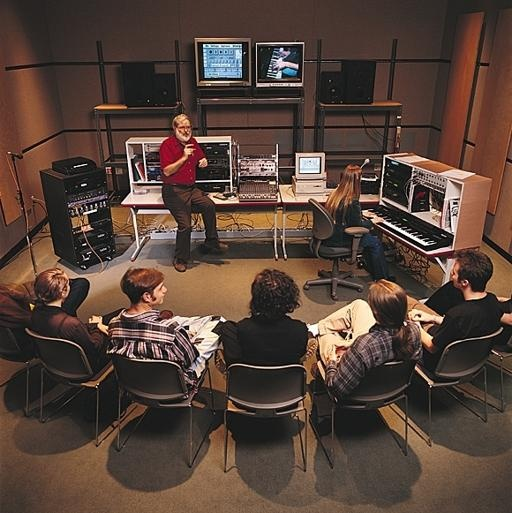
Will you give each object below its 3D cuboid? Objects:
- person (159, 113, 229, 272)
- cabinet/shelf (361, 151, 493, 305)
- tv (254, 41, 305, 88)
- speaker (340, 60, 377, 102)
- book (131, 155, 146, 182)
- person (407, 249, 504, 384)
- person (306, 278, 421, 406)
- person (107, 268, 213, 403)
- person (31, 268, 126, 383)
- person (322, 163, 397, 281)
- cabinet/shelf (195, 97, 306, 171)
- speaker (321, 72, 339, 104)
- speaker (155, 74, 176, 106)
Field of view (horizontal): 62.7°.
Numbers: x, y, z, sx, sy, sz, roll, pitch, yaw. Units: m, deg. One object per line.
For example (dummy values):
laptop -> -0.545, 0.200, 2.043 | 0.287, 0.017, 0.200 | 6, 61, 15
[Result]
person -> -0.751, -0.751, 4.894 | 0.671, 1.702, 0.744 | -9, 26, -15
cabinet/shelf -> 1.592, -0.263, 4.046 | 0.796, 1.260, 1.387 | -4, 31, -11
tv -> 0.315, -2.674, 5.856 | 0.768, 0.554, 0.248 | 0, 27, 0
speaker -> 1.435, -2.518, 6.028 | 0.635, 0.700, 0.424 | 0, 26, 2
book -> -1.446, -1.086, 5.211 | 0.112, 0.294, 0.192 | -24, 32, -38
person -> 1.202, 0.361, 2.514 | 0.526, 0.712, 0.359 | -22, 31, -37
person -> 0.615, 0.426, 2.421 | 0.508, 0.785, 0.645 | -3, 24, -2
person -> -0.563, 0.447, 2.321 | 0.428, 0.750, 0.378 | 11, 28, 26
person -> -1.151, 0.467, 2.719 | 0.443, 0.876, 0.507 | 24, 52, 4
person -> 1.052, -0.288, 4.292 | 0.765, 1.316, 0.544 | -23, 32, -38
cabinet/shelf -> -0.132, -1.869, 6.221 | 1.809, 1.268, 0.576 | -1, 36, 1
speaker -> 1.046, -2.473, 6.166 | 0.175, 0.433, 0.331 | -22, 31, -36
speaker -> -1.331, -2.428, 6.120 | 0.313, 0.438, 0.080 | 2, 26, 9
